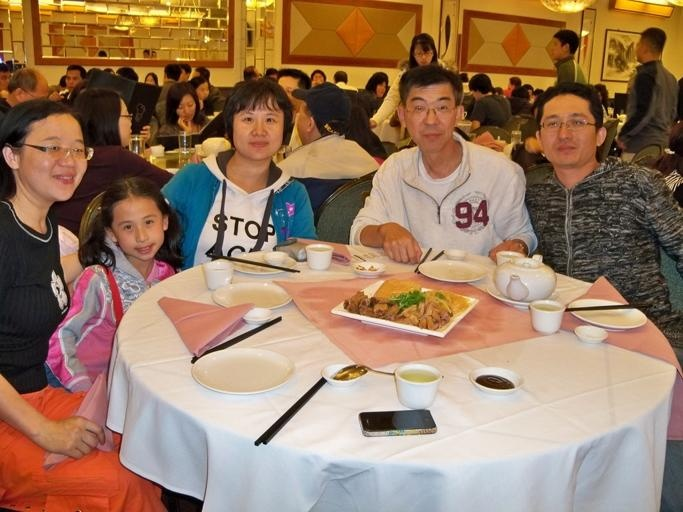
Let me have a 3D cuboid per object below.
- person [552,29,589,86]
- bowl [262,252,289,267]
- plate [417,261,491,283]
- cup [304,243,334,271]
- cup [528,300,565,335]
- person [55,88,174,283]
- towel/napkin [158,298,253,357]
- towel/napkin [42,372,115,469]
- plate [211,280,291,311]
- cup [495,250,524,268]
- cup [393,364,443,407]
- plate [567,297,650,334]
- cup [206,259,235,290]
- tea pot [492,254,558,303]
[{"bbox_3d":[2.833,-2.533,6.319,0.388,0.711,0.859,7,15,16],"label":"person"},{"bbox_3d":[-0.241,0.002,1.900,0.060,0.026,0.067,3,12,8],"label":"bowl"},{"bbox_3d":[0.403,0.052,1.831,0.126,0.017,0.128,12,23,30],"label":"plate"},{"bbox_3d":[-0.085,-0.007,1.884,0.098,0.071,0.095,0,20,0],"label":"cup"},{"bbox_3d":[0.561,0.165,1.418,0.095,0.074,0.095,0,6,0],"label":"cup"},{"bbox_3d":[-1.414,-0.633,3.128,0.523,0.754,0.590,-12,29,-18],"label":"person"},{"bbox_3d":[-0.357,0.175,1.371,0.148,0.029,0.167,-14,28,-29],"label":"towel/napkin"},{"bbox_3d":[-0.717,0.467,1.435,0.140,0.226,0.229,4,15,5],"label":"towel/napkin"},{"bbox_3d":[-0.280,0.121,1.590,0.129,0.018,0.128,8,21,9],"label":"plate"},{"bbox_3d":[0.594,0.004,1.819,0.088,0.063,0.082,0,23,0],"label":"cup"},{"bbox_3d":[0.165,0.276,1.103,0.079,0.056,0.092,-14,17,-42],"label":"cup"},{"bbox_3d":[0.772,0.175,1.470,0.123,0.018,0.121,3,19,6],"label":"plate"},{"bbox_3d":[-0.392,0.058,1.650,0.090,0.073,0.091,1,8,0],"label":"cup"},{"bbox_3d":[0.591,0.069,1.607,0.125,0.094,0.176,8,7,33],"label":"tea pot"}]
